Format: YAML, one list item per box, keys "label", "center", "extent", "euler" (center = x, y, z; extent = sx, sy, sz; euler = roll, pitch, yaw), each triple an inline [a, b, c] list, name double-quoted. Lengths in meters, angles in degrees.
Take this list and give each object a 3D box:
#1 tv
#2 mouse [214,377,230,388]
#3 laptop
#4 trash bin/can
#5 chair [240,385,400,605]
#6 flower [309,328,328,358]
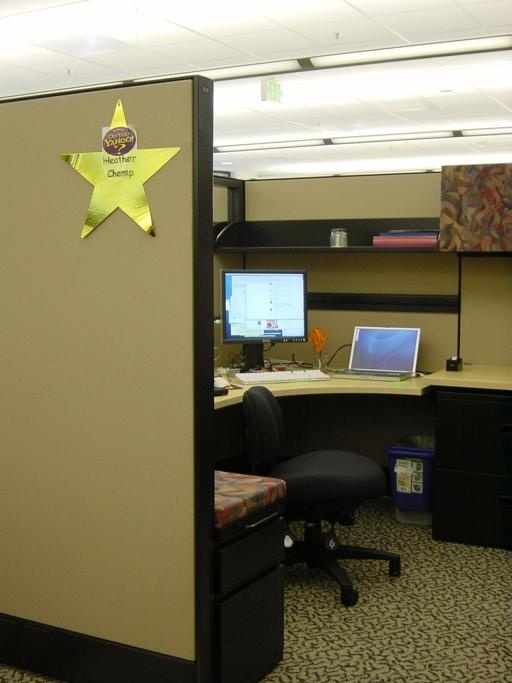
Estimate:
- label: "tv"
  center: [0.030, -0.123, 3.061]
  extent: [0.557, 0.653, 0.228]
  euler: [-1, 0, -23]
- label: "mouse"
  center: [-0.151, 0.170, 2.578]
  extent: [0.049, 0.018, 0.067]
  euler: [-2, 13, -17]
- label: "laptop"
  center: [0.654, 0.042, 3.068]
  extent: [0.330, 0.227, 0.271]
  euler: [2, 2, 24]
- label: "trash bin/can"
  center: [0.792, 0.625, 3.014]
  extent: [0.333, 0.378, 0.293]
  euler: [-1, -1, 22]
- label: "chair"
  center: [0.219, 0.484, 2.435]
  extent: [0.661, 0.837, 0.766]
  euler: [-2, 1, 11]
- label: "flower"
  center: [0.337, 0.004, 3.252]
  extent: [0.098, 0.161, 0.262]
  euler: [1, -1, 5]
